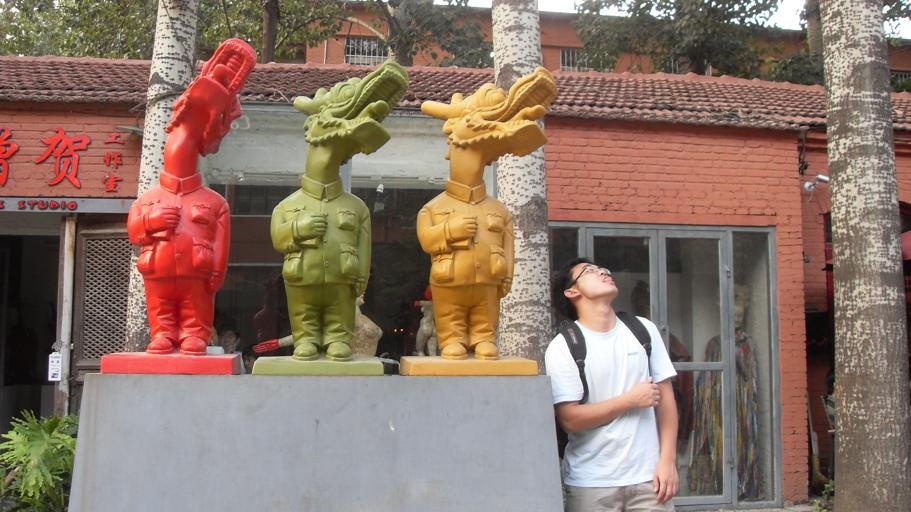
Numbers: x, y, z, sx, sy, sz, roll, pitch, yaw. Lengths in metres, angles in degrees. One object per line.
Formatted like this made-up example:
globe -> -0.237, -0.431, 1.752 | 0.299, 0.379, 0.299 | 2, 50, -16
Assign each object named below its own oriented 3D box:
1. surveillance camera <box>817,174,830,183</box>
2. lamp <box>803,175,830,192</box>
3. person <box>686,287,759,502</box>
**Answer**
surveillance camera -> 5.986, -1.243, 22.693 | 0.191, 0.146, 0.461 | 3, 3, 14
lamp -> 5.899, -1.178, 22.695 | 0.212, 0.251, 0.740 | 14, 16, 36
person -> 4.287, 2.152, 22.037 | 1.182, 3.311, 0.572 | 2, 4, 0
